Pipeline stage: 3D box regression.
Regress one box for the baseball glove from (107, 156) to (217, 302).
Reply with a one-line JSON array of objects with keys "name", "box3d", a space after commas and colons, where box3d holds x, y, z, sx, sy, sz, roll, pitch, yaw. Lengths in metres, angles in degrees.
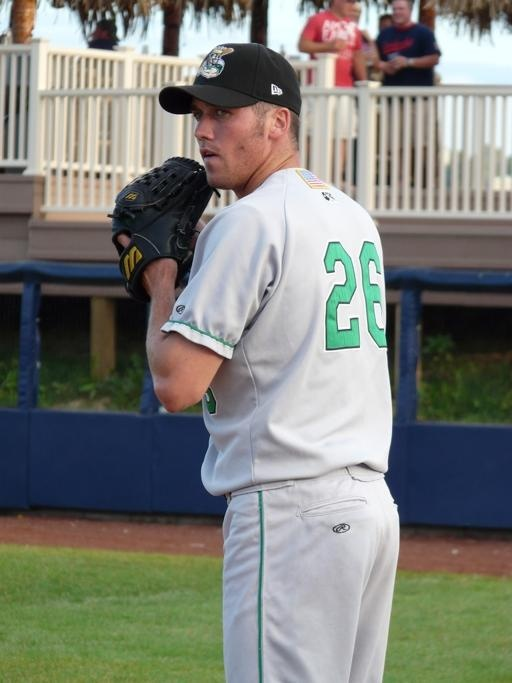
[{"name": "baseball glove", "box3d": [-0.402, -0.511, 7.102, 0.181, 0.524, 0.425, 32, -1, -31]}]
